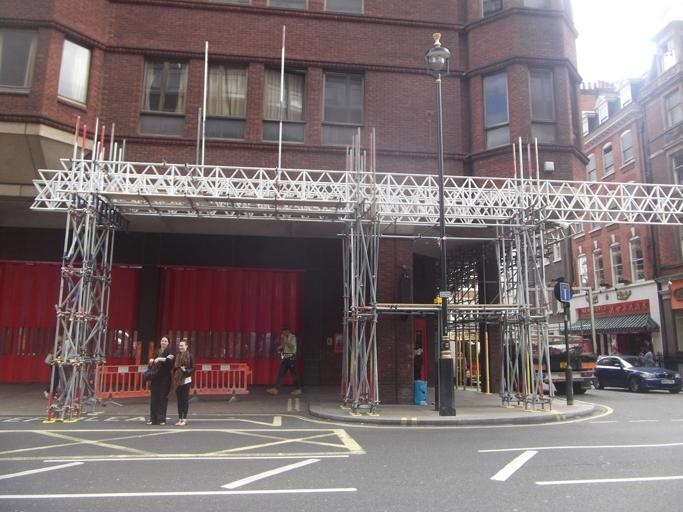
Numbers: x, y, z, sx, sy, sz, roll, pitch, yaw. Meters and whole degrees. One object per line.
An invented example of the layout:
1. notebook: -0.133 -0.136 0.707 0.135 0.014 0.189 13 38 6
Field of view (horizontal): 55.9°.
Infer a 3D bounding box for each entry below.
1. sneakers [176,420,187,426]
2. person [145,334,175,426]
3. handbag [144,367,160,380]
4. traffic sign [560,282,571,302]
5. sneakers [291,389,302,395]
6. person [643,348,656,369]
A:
1. sneakers: -4.326 4.452 17.202 0.260 0.153 0.344 1 -12 -14
2. person: -4.945 3.397 17.457 0.747 2.291 0.676 2 -11 -15
3. handbag: -5.105 3.126 17.228 0.395 0.422 0.239 2 -11 -16
4. traffic sign: 7.322 1.194 21.135 0.329 0.647 0.512 -4 -11 15
5. sneakers: -1.653 4.882 22.960 0.344 0.267 0.172 0 -5 26
6. person: 15.116 5.068 31.667 0.562 1.178 0.965 1 -3 8
